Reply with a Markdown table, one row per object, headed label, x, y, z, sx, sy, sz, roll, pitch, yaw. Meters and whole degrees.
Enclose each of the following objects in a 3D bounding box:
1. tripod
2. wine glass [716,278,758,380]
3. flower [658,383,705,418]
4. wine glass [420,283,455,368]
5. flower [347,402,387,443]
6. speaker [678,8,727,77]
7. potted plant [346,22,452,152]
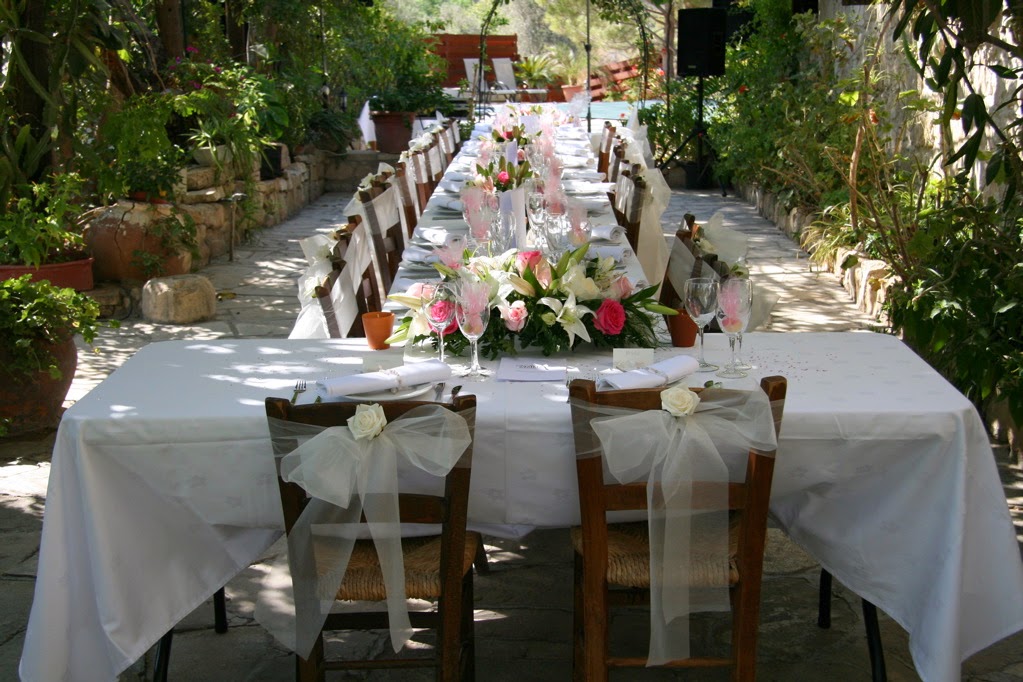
| label | x | y | z | sx | sy | sz | roll | pitch | yaw |
| --- | --- | --- | --- | --- | --- | --- | --- | --- | --- |
| tripod | 2.471 | -2.734 | 10.966 | 0.667 | 1.842 | 0.907 | -5 | 21 | -13 |
| wine glass | 0.733 | -0.059 | 2.669 | 0.118 | 0.368 | 0.115 | -1 | -5 | 36 |
| flower | 0.465 | 0.168 | 2.221 | 0.115 | 0.087 | 0.042 | -5 | 11 | -8 |
| wine glass | -0.231 | -0.033 | 2.691 | 0.103 | 0.352 | 0.107 | -10 | 33 | -20 |
| flower | -0.392 | 0.214 | 2.203 | 0.080 | 0.057 | 0.099 | 0 | 41 | 0 |
| speaker | 2.454 | -3.866 | 10.520 | 0.641 | 0.874 | 0.369 | -2 | 11 | 5 |
| potted plant | -1.802 | -3.866 | 12.450 | 1.452 | 2.358 | 1.556 | -2 | 18 | 2 |
